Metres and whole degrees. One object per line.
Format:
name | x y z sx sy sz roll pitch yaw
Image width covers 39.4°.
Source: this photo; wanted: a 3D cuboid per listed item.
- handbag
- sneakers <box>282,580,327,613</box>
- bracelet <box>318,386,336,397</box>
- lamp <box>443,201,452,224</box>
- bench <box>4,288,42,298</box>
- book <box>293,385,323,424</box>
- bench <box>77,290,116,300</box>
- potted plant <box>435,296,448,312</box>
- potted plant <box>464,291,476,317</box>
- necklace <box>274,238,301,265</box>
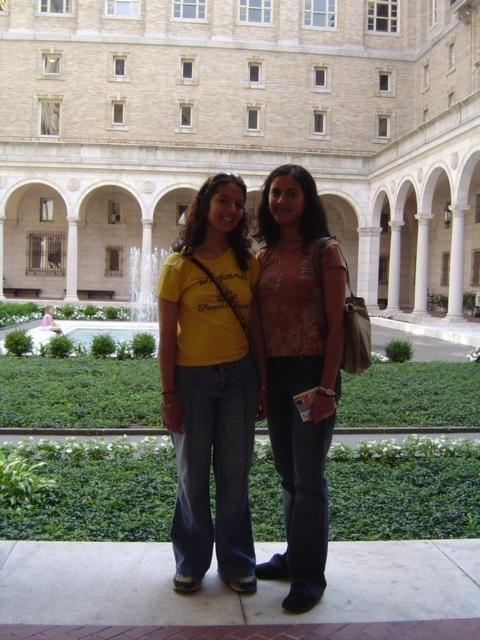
handbag | 0.461 -0.051 2.999 0.244 0.613 0.319 0 1 9
sneakers | 0.258 1.114 2.733 0.128 0.080 0.223 1 2 24
bracelet | 0.366 0.298 2.796 0.052 0.024 0.045 20 -4 34
lamp | 9.199 -4.698 29.715 0.265 1.100 2.037 0 2 14
bench | -10.821 -1.328 33.168 1.766 0.537 1.810 0 2 -11
book | 0.292 0.358 2.831 0.126 0.135 0.015 -30 -19 29
bench | -7.300 -1.284 34.144 1.813 0.511 0.987 0 2 -11
potted plant | 9.010 -0.747 30.059 0.594 0.591 0.549 1 0 -25
potted plant | 9.273 -0.621 27.041 0.449 0.949 1.044 1 2 20
necklace | 0.220 -0.309 3.044 0.109 0.106 0.027 7 -12 36
